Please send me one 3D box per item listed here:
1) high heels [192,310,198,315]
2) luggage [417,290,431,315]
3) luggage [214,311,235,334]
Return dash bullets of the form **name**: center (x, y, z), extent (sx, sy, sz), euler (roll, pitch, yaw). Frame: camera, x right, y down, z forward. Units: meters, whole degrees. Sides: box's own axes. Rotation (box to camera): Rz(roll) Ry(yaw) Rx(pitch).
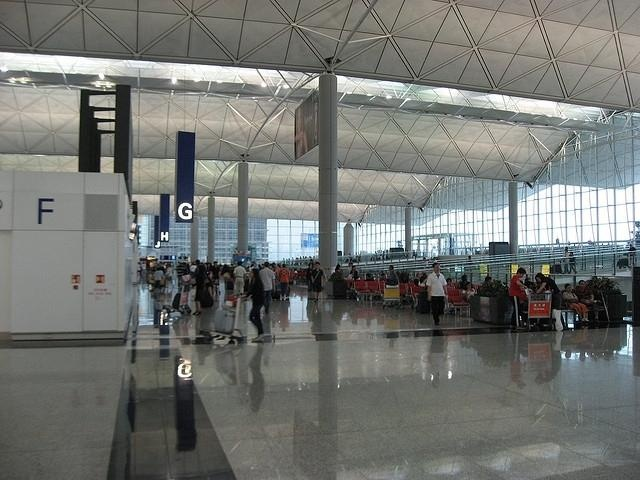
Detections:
- **high heels**: center (-4.704, 2.710, 20.659), extent (0.120, 0.231, 0.349), euler (2, 1, -40)
- **luggage**: center (4.044, 2.428, 21.457), extent (0.424, 0.850, 0.338), euler (0, 1, 15)
- **luggage**: center (-2.807, 2.458, 16.632), extent (0.648, 0.789, 0.585), euler (9, -11, -37)
